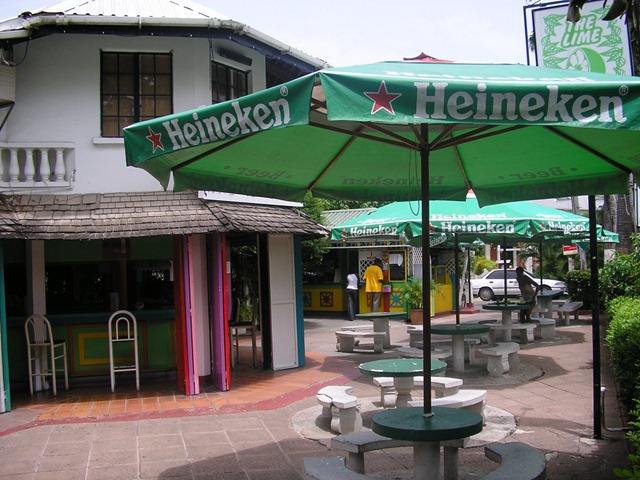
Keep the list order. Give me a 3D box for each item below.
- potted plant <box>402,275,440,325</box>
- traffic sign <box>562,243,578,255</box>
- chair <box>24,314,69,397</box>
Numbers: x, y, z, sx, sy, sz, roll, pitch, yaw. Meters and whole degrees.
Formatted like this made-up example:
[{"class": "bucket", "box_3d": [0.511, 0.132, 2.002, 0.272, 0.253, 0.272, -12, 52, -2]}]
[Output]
[{"class": "potted plant", "box_3d": [3.474, 2.210, 23.582, 1.937, 2.083, 1.901, 0, -10, 10]}, {"class": "traffic sign", "box_3d": [12.840, 0.451, 32.741, 0.811, 0.456, 0.784, -2, -2, 34]}, {"class": "chair", "box_3d": [-5.231, 2.182, 12.166, 0.730, 1.491, 0.985, -5, 0, -25]}]
